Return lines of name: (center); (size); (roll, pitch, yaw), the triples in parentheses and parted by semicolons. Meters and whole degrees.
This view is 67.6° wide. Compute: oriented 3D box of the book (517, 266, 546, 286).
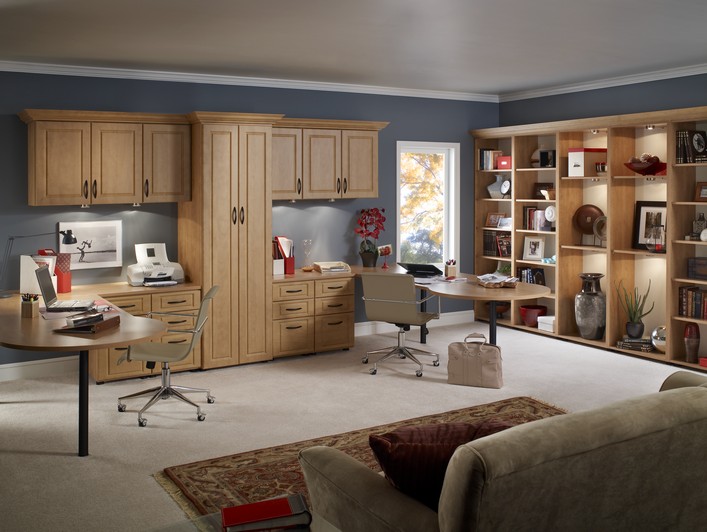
book: (2.416, 0.110, 7.194); (0.278, 0.335, 0.381); (-1, 2, 45)

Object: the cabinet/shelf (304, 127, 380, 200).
cabinet/shelf: (-0.175, -1.250, 6.314); (0.996, 0.704, 0.367); (-2, 5, -25)

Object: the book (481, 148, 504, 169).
book: (1.920, -1.483, 7.506); (0.378, 0.311, 0.264); (-4, 7, -35)

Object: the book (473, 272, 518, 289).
book: (1.549, 0.148, 5.765); (0.414, 0.096, 0.438); (-2, 9, -12)

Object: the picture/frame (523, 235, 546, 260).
picture/frame: (2.441, -0.248, 7.111); (0.375, 0.395, 0.037); (2, -1, 42)

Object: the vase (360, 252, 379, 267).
vase: (0.200, -0.077, 6.723); (0.239, 0.153, 0.196); (0, -1, -12)

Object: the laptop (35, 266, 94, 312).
laptop: (-2.493, 0.239, 4.505); (0.461, 0.329, 0.511); (-1, 7, -12)

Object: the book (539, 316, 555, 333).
book: (2.485, 0.743, 6.833); (0.211, 0.116, 0.199); (-4, 7, -25)

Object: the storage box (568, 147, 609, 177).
storage box: (2.860, -1.268, 6.446); (0.450, 0.355, 0.262); (1, 9, 5)

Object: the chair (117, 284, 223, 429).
chair: (-1.642, 0.733, 4.998); (1.197, 1.325, 1.192); (2, 3, -14)

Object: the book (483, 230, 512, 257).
book: (2.039, -0.328, 7.440); (0.424, 0.337, 0.217); (1, 5, -2)

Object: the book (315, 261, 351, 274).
book: (-0.255, 0.013, 6.275); (0.388, 0.102, 0.323); (-2, 9, -14)

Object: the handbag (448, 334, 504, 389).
handbag: (1.198, 0.947, 5.198); (0.558, 0.441, 0.205); (3, 7, 21)

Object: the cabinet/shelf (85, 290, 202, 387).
cabinet/shelf: (-1.912, 0.637, 4.718); (1.031, 0.825, 0.541); (-2, 5, -28)

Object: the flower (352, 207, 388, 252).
flower: (0.136, -0.500, 6.980); (0.590, 0.760, 0.538); (1, 0, -6)

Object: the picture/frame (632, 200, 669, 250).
picture/frame: (3.376, -0.471, 5.998); (0.049, 0.638, 0.627); (3, 1, -25)

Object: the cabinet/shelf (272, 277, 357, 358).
cabinet/shelf: (-0.493, 0.564, 6.014); (1.045, 0.818, 0.545); (-2, 4, -27)

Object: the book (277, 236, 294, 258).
book: (-0.803, -0.229, 6.215); (0.205, 0.227, 0.110); (-5, 10, -26)
